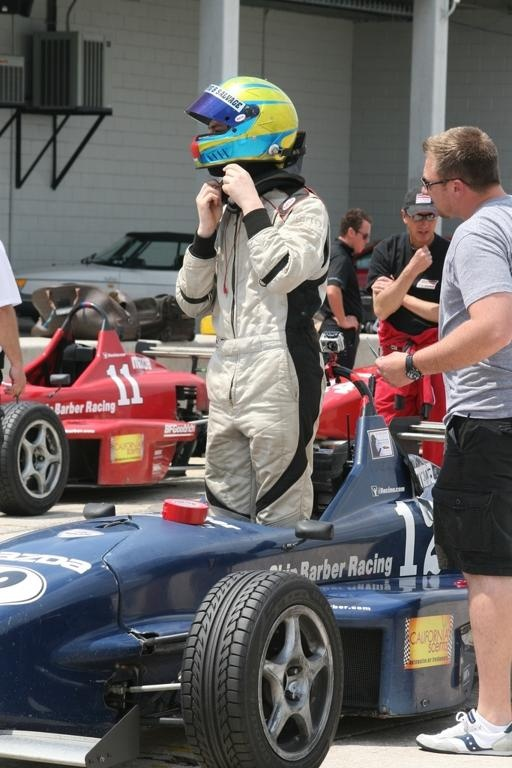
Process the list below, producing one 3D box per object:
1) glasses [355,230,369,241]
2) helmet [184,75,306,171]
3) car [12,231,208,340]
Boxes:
[{"bbox_3d":[0.832,-1.181,7.427,0.084,0.076,0.027,1,-26,-41],"label":"glasses"},{"bbox_3d":[-0.037,-0.839,3.012,0.383,0.262,0.268,-6,18,-12],"label":"helmet"},{"bbox_3d":[-2.016,-1.474,13.439,2.725,0.994,1.600,2,-1,-11],"label":"car"}]
